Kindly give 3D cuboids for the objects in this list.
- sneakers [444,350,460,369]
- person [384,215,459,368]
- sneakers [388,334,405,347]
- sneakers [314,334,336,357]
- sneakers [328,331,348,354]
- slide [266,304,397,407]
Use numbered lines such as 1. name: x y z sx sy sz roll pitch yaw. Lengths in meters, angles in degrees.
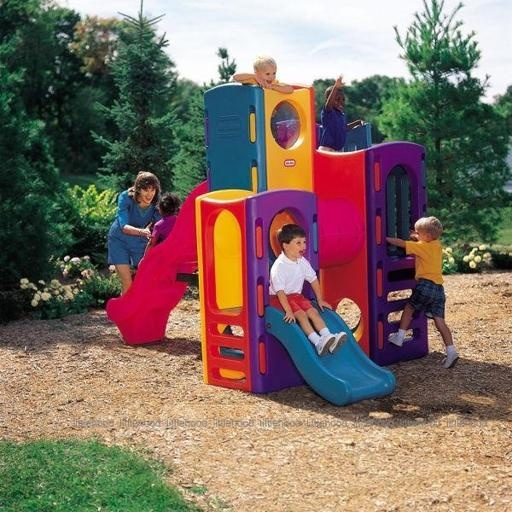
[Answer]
1. sneakers: 1.841 0.982 7.397 0.114 0.155 0.057 31 35 32
2. person: 1.608 0.327 7.589 0.714 1.432 0.681 2 10 11
3. sneakers: 1.350 0.813 7.596 0.088 0.112 0.172 -2 15 -12
4. sneakers: 0.557 0.720 6.440 0.103 0.216 0.097 31 11 25
5. sneakers: 0.676 0.708 6.461 0.085 0.221 0.097 27 0 -43
6. slide: 0.623 0.821 6.642 0.607 0.486 1.112 -3 23 -37
